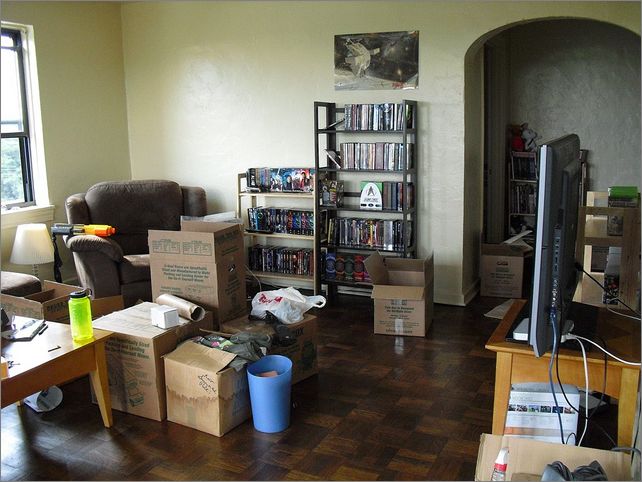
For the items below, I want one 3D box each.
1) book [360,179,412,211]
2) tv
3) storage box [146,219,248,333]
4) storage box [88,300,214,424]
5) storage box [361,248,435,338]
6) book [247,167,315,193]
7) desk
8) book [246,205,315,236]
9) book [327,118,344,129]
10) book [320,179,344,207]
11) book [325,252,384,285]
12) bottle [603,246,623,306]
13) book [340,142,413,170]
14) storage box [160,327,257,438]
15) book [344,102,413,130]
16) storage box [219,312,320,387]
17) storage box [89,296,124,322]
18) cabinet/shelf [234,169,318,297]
[{"bbox_3d":[0.648,-0.454,4.825,0.529,0.286,0.343,6,9,28],"label":"book"},{"bbox_3d":[0.899,0.027,1.915,0.204,0.851,0.491,7,16,28],"label":"tv"},{"bbox_3d":[-0.897,0.235,3.580,0.591,0.628,0.378,2,11,19],"label":"storage box"},{"bbox_3d":[-1.068,0.716,3.215,0.610,0.635,0.476,5,12,32],"label":"storage box"},{"bbox_3d":[0.703,0.434,4.327,0.556,0.696,0.496,3,14,14],"label":"storage box"},{"bbox_3d":[-0.454,-0.652,5.294,0.783,0.251,0.114,4,14,17],"label":"book"},{"bbox_3d":[1.000,0.507,2.182,0.595,0.562,0.592,2,9,4],"label":"desk"},{"bbox_3d":[-0.450,-0.205,5.319,0.815,0.269,0.124,6,15,25],"label":"book"},{"bbox_3d":[0.149,-1.200,5.001,0.132,0.039,0.149,-26,5,3],"label":"book"},{"bbox_3d":[0.106,-0.481,5.010,0.261,0.347,0.253,0,4,4],"label":"book"},{"bbox_3d":[0.290,0.258,5.122,0.580,0.291,0.289,1,6,23],"label":"book"},{"bbox_3d":[1.777,0.226,2.983,0.046,0.079,0.345,4,16,20],"label":"bottle"},{"bbox_3d":[0.486,-0.829,4.812,0.640,0.255,0.128,4,14,19],"label":"book"},{"bbox_3d":[-0.688,0.883,3.005,0.473,0.431,0.384,4,6,37],"label":"storage box"},{"bbox_3d":[0.561,-1.198,4.752,0.704,0.267,0.390,1,13,6],"label":"book"},{"bbox_3d":[-0.333,0.709,3.397,0.428,0.505,0.805,4,7,33],"label":"storage box"},{"bbox_3d":[-1.545,0.471,3.526,0.138,0.179,0.260,8,10,37],"label":"storage box"},{"bbox_3d":[-0.444,-0.102,5.165,1.304,1.501,0.496,4,7,30],"label":"cabinet/shelf"}]
